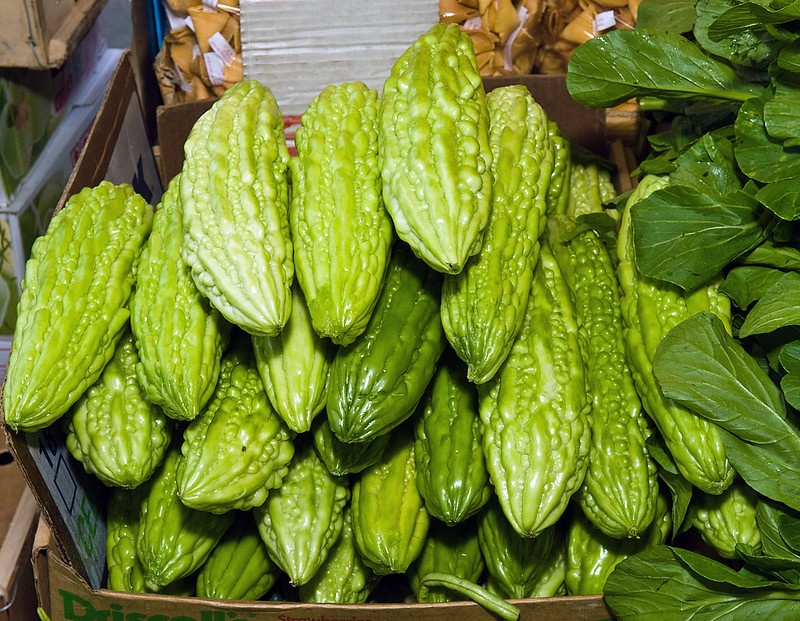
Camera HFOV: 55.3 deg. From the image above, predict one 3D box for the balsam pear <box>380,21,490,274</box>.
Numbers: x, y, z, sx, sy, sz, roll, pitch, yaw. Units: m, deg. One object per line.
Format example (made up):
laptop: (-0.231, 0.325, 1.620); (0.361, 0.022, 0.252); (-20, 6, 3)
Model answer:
balsam pear: (0.066, -0.372, 1.785); (0.186, 0.213, 0.632); (2, 64, -10)

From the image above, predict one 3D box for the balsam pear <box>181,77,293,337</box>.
balsam pear: (-0.335, -0.262, 1.783); (0.197, 0.194, 0.649); (-10, 63, 3)

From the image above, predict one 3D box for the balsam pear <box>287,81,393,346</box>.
balsam pear: (-0.146, -0.265, 1.942); (0.259, 0.826, 0.279); (-6, 62, -2)

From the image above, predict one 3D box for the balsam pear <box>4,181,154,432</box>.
balsam pear: (-0.775, -0.021, 1.906); (0.243, 0.189, 0.643); (15, 58, -2)

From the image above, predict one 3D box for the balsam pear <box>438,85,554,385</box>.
balsam pear: (0.252, -0.206, 1.884); (0.221, 0.232, 0.760); (-12, 50, 27)
